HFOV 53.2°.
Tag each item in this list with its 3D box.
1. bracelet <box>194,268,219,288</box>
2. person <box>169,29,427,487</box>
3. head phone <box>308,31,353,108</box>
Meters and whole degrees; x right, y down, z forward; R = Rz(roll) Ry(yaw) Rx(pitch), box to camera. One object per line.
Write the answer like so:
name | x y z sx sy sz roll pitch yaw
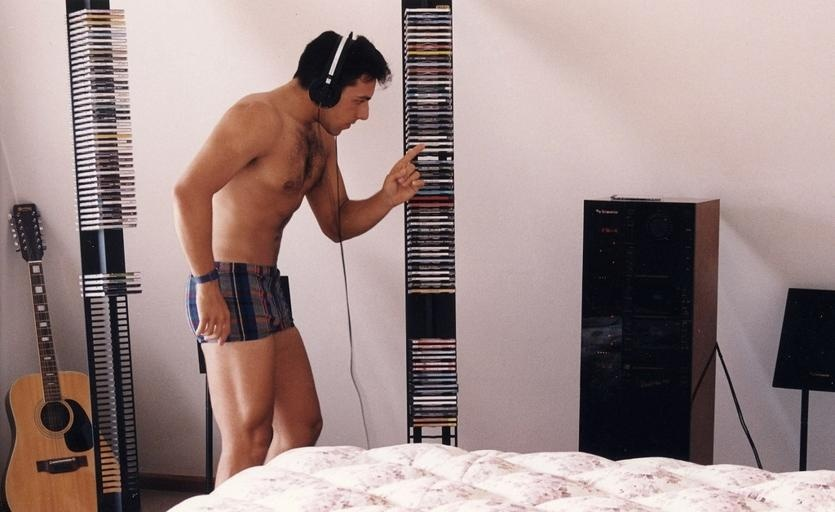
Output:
bracelet | -0.879 0.089 3.455 0.105 0.046 0.058 -2 1 -4
person | -0.551 -0.009 3.653 0.942 1.895 0.357 -2 1 -13
head phone | -0.350 -0.831 3.663 0.153 0.316 0.370 20 27 -4
